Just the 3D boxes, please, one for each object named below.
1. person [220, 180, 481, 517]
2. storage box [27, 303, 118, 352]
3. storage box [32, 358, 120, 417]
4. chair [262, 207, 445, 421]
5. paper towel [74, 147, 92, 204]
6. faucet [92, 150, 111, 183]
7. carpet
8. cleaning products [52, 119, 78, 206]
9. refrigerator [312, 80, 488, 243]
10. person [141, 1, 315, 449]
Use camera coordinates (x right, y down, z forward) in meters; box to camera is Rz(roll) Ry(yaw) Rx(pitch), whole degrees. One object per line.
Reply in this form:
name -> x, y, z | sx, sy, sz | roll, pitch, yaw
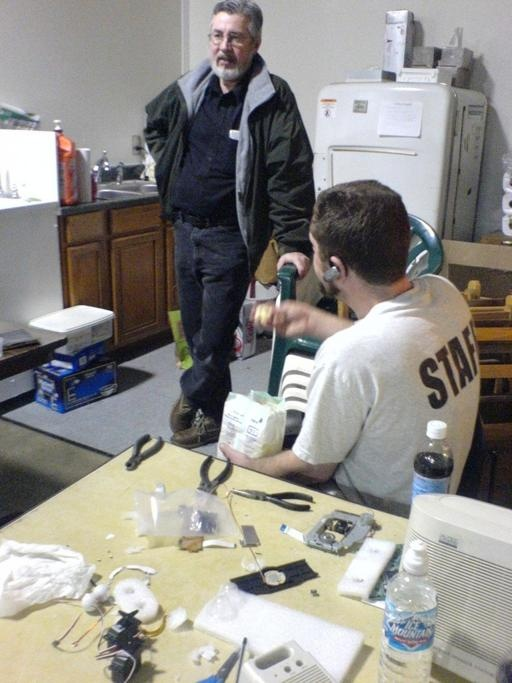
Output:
person -> 0.235, 0.137, 1.299 | 0.500, 0.952, 0.520 | 9, 32, 29
storage box -> -0.892, -0.090, 2.838 | 0.341, 0.221, 0.387 | 14, 25, 29
storage box -> -0.941, 0.197, 2.959 | 0.222, 0.199, 0.397 | 16, 20, 31
chair -> 0.343, -0.077, 2.114 | 0.526, 0.820, 0.552 | 9, 22, 25
paper towel -> -0.937, -0.896, 2.999 | 0.105, 0.270, 0.107 | -5, 15, -27
faucet -> -1.036, -1.172, 3.723 | 0.103, 0.206, 0.184 | -1, 15, -8
carpet -> -0.688, 0.303, 2.882 | 0.608, 0.008, 0.685 | 11, 19, 30
cleaning products -> -1.000, -0.928, 2.869 | 0.072, 0.416, 0.150 | 6, 21, 4
refrigerator -> 0.879, -1.183, 3.428 | 1.045, 0.928, 0.817 | 4, 23, 18
person -> 0.045, -0.343, 2.668 | 0.874, 2.023, 0.692 | 5, 12, 26
